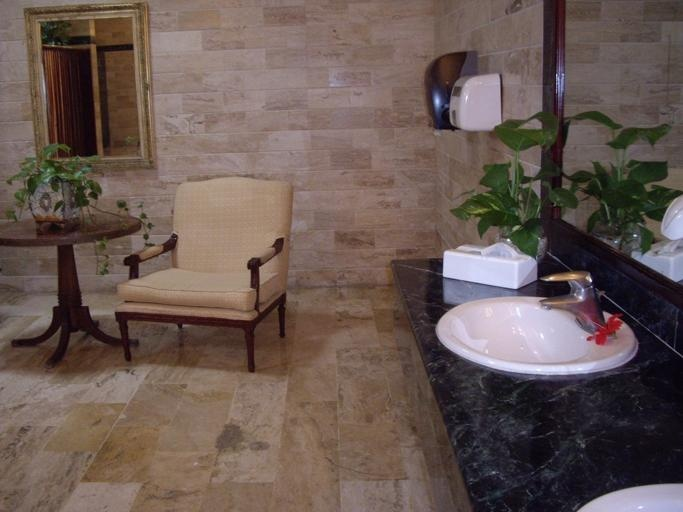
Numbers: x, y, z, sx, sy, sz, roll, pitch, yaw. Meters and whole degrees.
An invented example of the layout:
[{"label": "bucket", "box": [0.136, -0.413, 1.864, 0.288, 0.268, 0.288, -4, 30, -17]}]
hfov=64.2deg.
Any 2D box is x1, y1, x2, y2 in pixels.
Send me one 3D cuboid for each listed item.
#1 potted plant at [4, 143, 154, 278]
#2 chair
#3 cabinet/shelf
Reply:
[{"label": "potted plant", "box": [-2.002, -0.414, 4.236, 1.544, 0.739, 0.739, 12, 20, 0]}, {"label": "chair", "box": [-1.232, 0.031, 4.134, 1.312, 1.542, 1.356, 2, 8, 12]}, {"label": "cabinet/shelf", "box": [-2.359, -1.347, 4.742, 0.424, 0.926, 0.160, 0, 17, 6]}]
